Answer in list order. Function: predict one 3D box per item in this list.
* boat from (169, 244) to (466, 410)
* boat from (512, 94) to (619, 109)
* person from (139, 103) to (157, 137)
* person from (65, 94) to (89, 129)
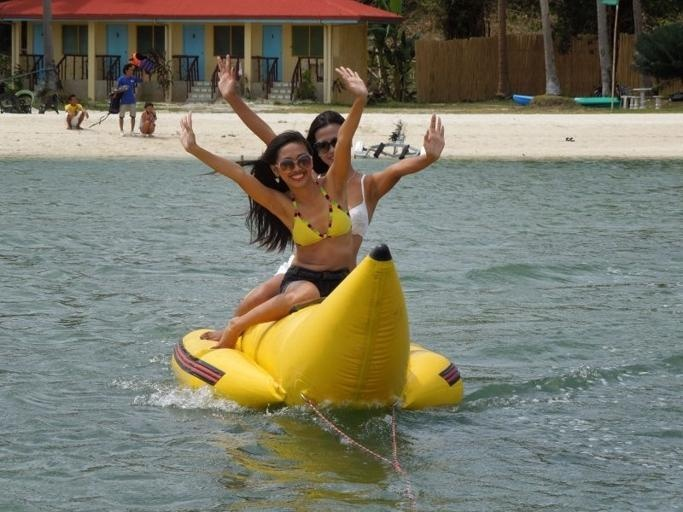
[{"bbox_3d":[-0.148,0.724,11.645,1.581,0.815,2.184,3,-8,-24],"label":"boat"},{"bbox_3d":[5.966,-4.189,34.140,3.408,0.401,0.960,1,9,4],"label":"boat"},{"bbox_3d":[-4.015,-2.883,26.705,0.322,0.724,0.955,-2,7,-9],"label":"person"},{"bbox_3d":[-5.691,-3.144,27.603,0.448,0.756,1.044,-2,7,-11],"label":"person"}]
